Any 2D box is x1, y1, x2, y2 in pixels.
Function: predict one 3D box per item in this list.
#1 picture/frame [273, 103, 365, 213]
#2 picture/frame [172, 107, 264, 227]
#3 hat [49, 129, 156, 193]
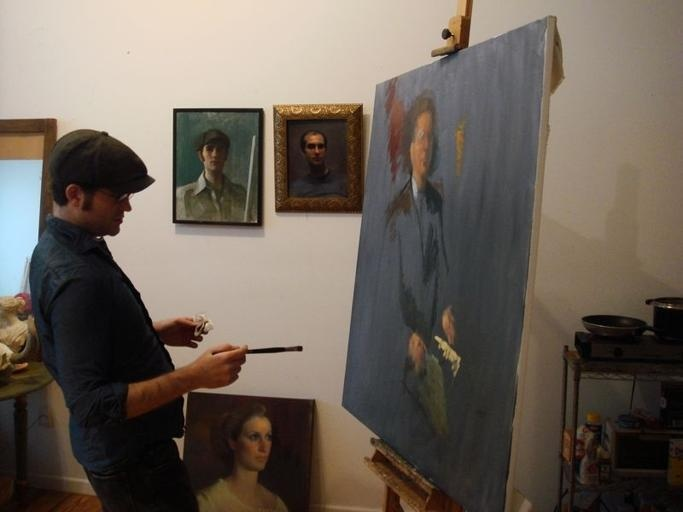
[{"bbox_3d":[-0.122,-0.506,3.172,0.467,0.614,0.036,-1,-18,-4],"label":"picture/frame"},{"bbox_3d":[-0.637,-0.493,3.224,0.530,0.760,0.030,1,1,7],"label":"picture/frame"},{"bbox_3d":[-0.882,-0.376,2.284,0.350,0.188,0.268,5,25,-8],"label":"hat"}]
